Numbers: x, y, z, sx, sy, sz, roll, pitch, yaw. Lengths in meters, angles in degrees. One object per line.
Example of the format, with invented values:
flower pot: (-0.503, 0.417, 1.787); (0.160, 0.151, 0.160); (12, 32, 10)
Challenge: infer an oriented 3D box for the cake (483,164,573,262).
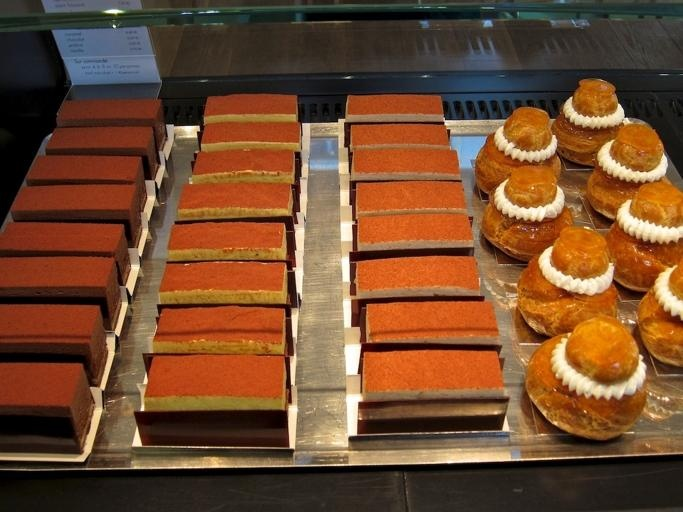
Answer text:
cake: (0.447, -0.099, 1.727); (0.188, 0.155, 0.179); (4, 38, 1)

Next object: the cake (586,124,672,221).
cake: (0.712, -0.205, 1.777); (0.175, 0.183, 0.163); (-23, 46, -21)

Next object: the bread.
bread: (-0.239, -0.026, 1.745); (1.148, 0.285, 0.970); (-1, 44, -1)

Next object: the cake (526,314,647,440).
cake: (0.532, 0.245, 1.520); (0.275, 0.227, 0.258); (-1, 45, 3)
